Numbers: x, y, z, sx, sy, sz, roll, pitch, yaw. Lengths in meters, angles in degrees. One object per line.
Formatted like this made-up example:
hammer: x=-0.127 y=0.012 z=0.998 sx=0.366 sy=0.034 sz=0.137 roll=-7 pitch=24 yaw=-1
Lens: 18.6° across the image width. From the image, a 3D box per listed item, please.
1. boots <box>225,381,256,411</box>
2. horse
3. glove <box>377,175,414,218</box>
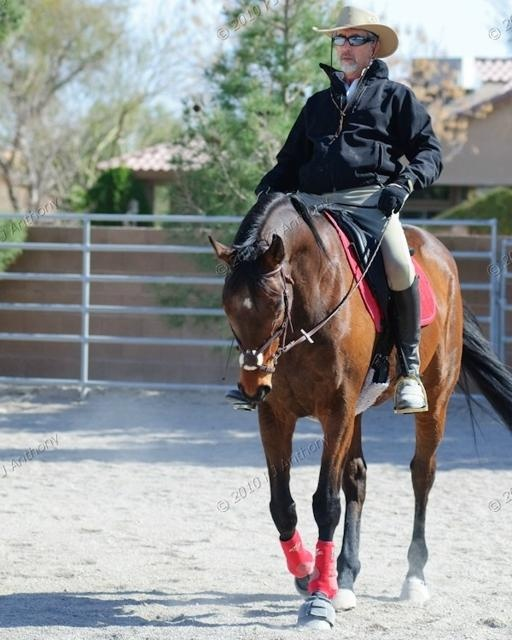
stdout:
boots: x=-0.076 y=0.425 z=8.246 sx=0.084 sy=0.153 sz=0.233 roll=3 pitch=-10 yaw=-13
horse: x=0.609 y=0.405 z=8.811 sx=0.826 sy=2.254 sz=1.924 roll=15 pitch=19 yaw=40
glove: x=0.771 y=-0.670 z=8.572 sx=0.165 sy=0.235 sz=0.102 roll=16 pitch=-17 yaw=25
